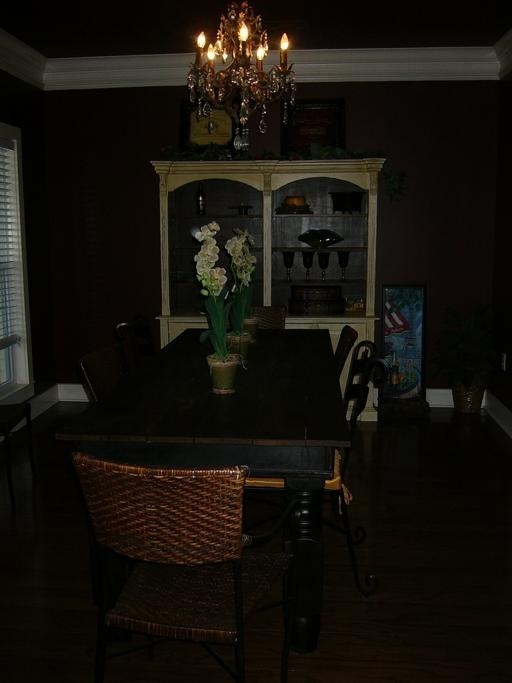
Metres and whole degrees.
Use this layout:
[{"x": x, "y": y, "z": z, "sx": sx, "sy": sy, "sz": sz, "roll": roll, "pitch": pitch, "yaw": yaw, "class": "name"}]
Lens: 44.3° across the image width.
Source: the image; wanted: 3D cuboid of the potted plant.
[{"x": 1.673, "y": 0.154, "z": 5.057, "sx": 0.424, "sy": 0.834, "sz": 0.347, "roll": 2, "pitch": 8, "yaw": 17, "class": "potted plant"}]
